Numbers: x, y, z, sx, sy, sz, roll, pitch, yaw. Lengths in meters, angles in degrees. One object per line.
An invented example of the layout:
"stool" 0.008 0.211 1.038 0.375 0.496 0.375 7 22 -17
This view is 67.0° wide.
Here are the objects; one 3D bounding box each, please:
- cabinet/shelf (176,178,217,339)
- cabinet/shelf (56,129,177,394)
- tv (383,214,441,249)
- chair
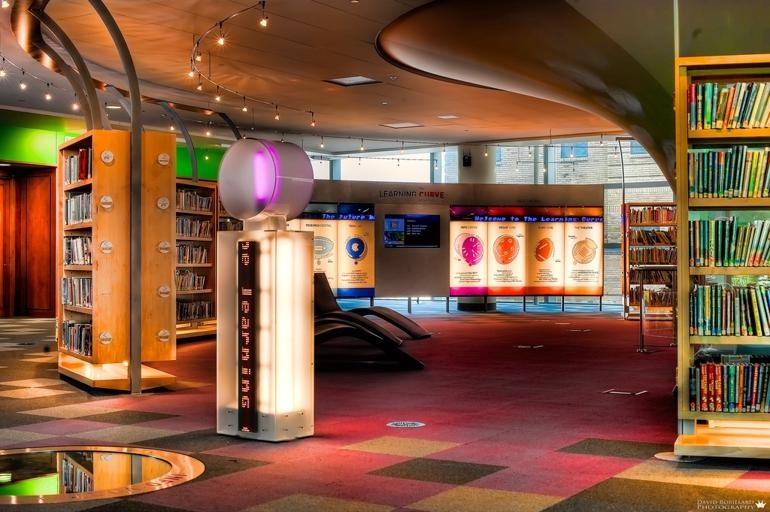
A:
"cabinet/shelf" -3.582 0.042 11.128 0.772 2.952 1.103 -1 -2 -17
"cabinet/shelf" -3.407 0.015 7.274 1.133 3.006 1.993 0 -2 -29
"tv" 0.639 -0.684 16.110 1.491 0.571 0.044 0 1 -7
"chair" -0.401 1.066 8.586 2.075 0.696 1.737 2 0 10
